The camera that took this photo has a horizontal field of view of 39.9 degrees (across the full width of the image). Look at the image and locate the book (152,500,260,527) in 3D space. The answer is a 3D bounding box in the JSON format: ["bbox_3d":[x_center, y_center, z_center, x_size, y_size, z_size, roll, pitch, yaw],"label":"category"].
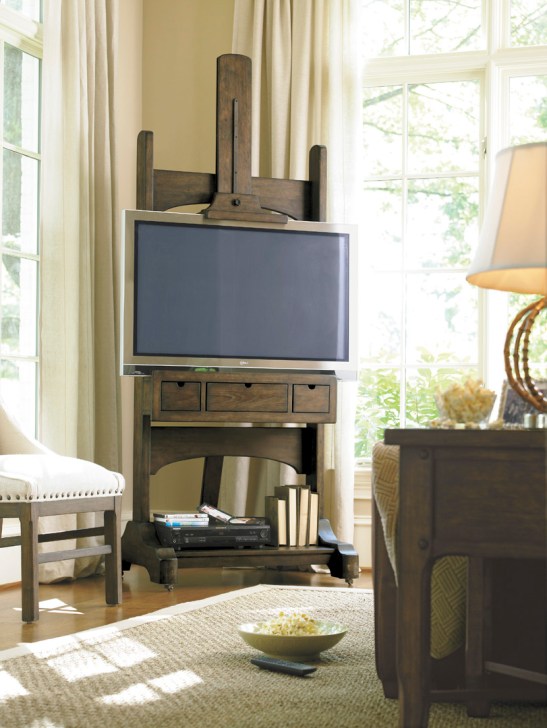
[{"bbox_3d":[-0.265,0.636,3.162,0.466,0.078,0.313,2,-9,-11],"label":"book"}]

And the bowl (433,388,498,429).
[{"bbox_3d":[0.333,0.083,1.300,0.073,0.052,0.077,0,-7,0],"label":"bowl"}]

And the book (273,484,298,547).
[{"bbox_3d":[0.052,0.650,3.181,0.083,0.223,0.234,0,-3,-1],"label":"book"}]

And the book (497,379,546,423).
[{"bbox_3d":[0.525,0.082,1.593,0.099,0.100,0.009,-12,-22,44],"label":"book"}]

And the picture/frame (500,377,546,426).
[{"bbox_3d":[0.517,0.082,1.560,0.009,0.105,0.104,16,-18,-42],"label":"picture/frame"}]

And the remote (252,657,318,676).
[{"bbox_3d":[0.020,0.678,1.689,0.106,0.022,0.028,4,1,43],"label":"remote"}]

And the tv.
[{"bbox_3d":[-0.178,-0.280,3.171,0.721,0.469,0.016,1,-6,-12],"label":"tv"}]

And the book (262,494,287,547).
[{"bbox_3d":[0.008,0.667,3.177,0.069,0.200,0.209,-1,-4,-5],"label":"book"}]
